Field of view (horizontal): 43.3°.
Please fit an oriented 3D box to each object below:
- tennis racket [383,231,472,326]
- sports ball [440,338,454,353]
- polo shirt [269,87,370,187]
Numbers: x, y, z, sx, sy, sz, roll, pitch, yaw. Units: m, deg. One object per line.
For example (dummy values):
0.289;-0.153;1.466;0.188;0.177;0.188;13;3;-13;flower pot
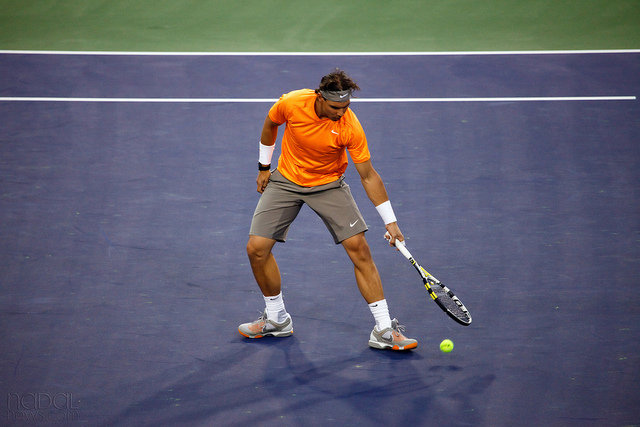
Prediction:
1.206;0.728;8.479;0.379;0.826;0.673;-17;20;-24;tennis racket
1.351;1.407;8.625;0.155;0.137;0.126;-6;17;3;sports ball
-0.020;-0.801;8.614;1.009;1.017;0.375;-6;19;4;polo shirt
